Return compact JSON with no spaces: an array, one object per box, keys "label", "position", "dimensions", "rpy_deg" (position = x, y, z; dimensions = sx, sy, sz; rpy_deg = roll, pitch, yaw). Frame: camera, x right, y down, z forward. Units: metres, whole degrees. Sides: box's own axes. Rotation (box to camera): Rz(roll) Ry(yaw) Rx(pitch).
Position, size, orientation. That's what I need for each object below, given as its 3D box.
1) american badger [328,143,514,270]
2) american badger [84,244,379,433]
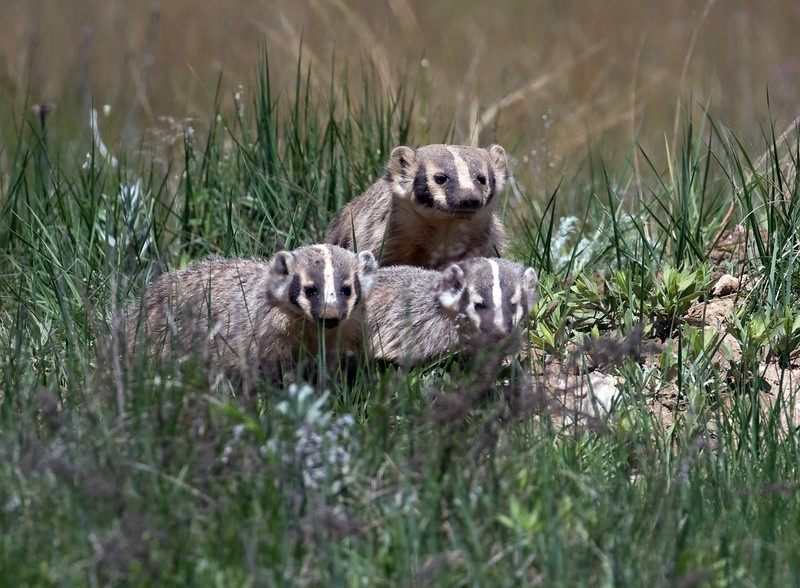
[{"label":"american badger","position":[0.224,-0.612,7.214],"dimensions":[0.691,0.760,1.205],"rpy_deg":[0,0,-25]},{"label":"american badger","position":[-0.964,0.237,5.841],"dimensions":[1.424,0.864,0.793],"rpy_deg":[-4,-1,27]}]
